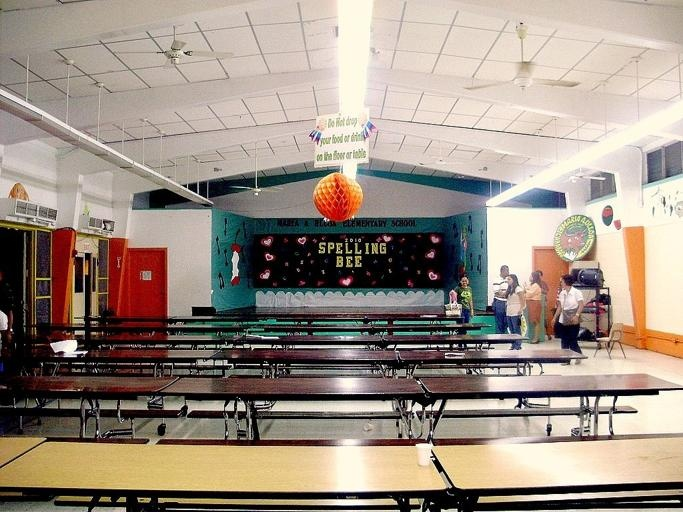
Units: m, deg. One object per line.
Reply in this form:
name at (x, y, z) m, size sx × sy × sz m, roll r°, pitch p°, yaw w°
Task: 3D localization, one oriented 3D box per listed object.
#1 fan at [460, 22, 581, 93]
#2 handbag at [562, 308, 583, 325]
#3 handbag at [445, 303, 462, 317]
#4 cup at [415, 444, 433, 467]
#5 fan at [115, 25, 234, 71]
fan at (2.477, -2.717, 7.760) m, size 1.410 × 0.863 × 1.243 m, roll -4°, pitch 6°, yaw -30°
handbag at (3.959, 1.038, 9.895) m, size 0.329 × 0.334 × 0.121 m, roll 1°, pitch -9°, yaw 23°
handbag at (2.159, 1.045, 11.019) m, size 0.243 × 0.233 × 0.233 m, roll 1°, pitch -8°, yaw 1°
cup at (0.651, 1.537, 4.432) m, size 0.143 × 0.128 × 0.142 m, roll -1°, pitch -4°, yaw 0°
fan at (-2.115, -2.725, 7.874) m, size 1.007 × 0.410 × 1.021 m, roll 3°, pitch 7°, yaw 19°
